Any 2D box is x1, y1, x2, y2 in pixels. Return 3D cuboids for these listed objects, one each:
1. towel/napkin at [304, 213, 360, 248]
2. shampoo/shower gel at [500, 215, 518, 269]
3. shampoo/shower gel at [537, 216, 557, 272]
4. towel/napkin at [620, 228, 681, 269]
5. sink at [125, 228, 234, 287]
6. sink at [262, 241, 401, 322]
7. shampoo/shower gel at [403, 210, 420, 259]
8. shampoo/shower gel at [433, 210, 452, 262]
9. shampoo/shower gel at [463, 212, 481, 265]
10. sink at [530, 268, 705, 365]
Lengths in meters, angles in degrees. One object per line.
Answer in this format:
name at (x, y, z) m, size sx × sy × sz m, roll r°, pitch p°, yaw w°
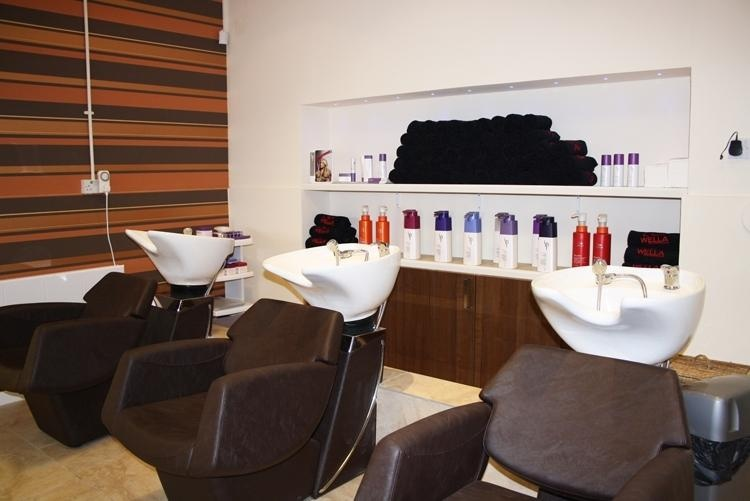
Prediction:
towel/napkin at (-0.343, -0.112, 4.042) m, size 0.286 × 0.256 × 0.349 m, roll 0°, pitch 1°, yaw 41°
shampoo/shower gel at (0.865, -0.069, 3.344) m, size 0.117 × 0.336 × 0.247 m, roll 2°, pitch 9°, yaw 16°
shampoo/shower gel at (1.061, -0.041, 3.185) m, size 0.112 × 0.342 × 0.109 m, roll 2°, pitch 10°, yaw 16°
towel/napkin at (1.586, -0.009, 2.958) m, size 0.287 × 0.191 × 0.204 m, roll 5°, pitch 10°, yaw 34°
sink at (-1.301, 0.060, 3.454) m, size 0.486 × 0.244 × 0.467 m, roll 1°, pitch 2°, yaw 23°
sink at (-0.172, 0.150, 2.781) m, size 0.556 × 0.276 × 0.517 m, roll -10°, pitch 11°, yaw -40°
shampoo/shower gel at (0.265, -0.123, 3.700) m, size 0.123 × 0.337 × 0.232 m, roll 0°, pitch 9°, yaw 4°
shampoo/shower gel at (0.462, -0.094, 3.501) m, size 0.108 × 0.341 × 0.102 m, roll -1°, pitch 9°, yaw 1°
shampoo/shower gel at (0.641, -0.076, 3.393) m, size 0.106 × 0.336 × 0.131 m, roll 0°, pitch 9°, yaw 7°
sink at (1.100, 0.265, 2.283) m, size 0.533 × 0.275 × 0.567 m, roll 2°, pitch 10°, yaw 38°
